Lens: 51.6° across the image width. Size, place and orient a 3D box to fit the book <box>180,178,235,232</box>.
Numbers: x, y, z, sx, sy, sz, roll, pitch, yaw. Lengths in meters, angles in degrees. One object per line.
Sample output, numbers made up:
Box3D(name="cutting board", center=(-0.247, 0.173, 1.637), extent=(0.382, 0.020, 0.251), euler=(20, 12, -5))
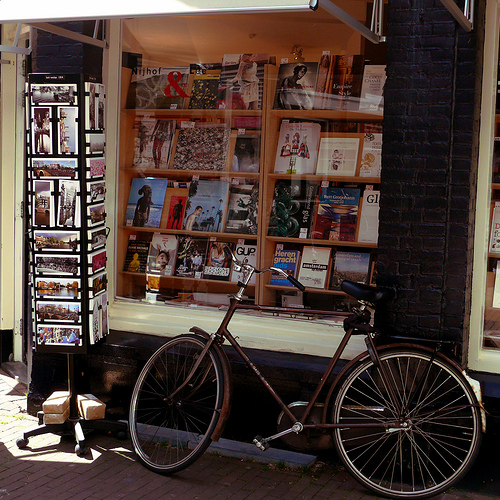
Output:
Box3D(name="book", center=(-0.323, -0.383, 4.387), extent=(0.466, 0.421, 0.066), euler=(19, 10, 17))

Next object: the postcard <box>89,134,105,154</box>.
Box3D(name="postcard", center=(-0.985, -0.705, 3.395), extent=(0.084, 0.130, 0.170), euler=(3, 8, 21))

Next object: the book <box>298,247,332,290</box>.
Box3D(name="book", center=(0.513, 0.141, 4.024), extent=(0.271, 0.305, 0.082), euler=(8, -8, 23))
